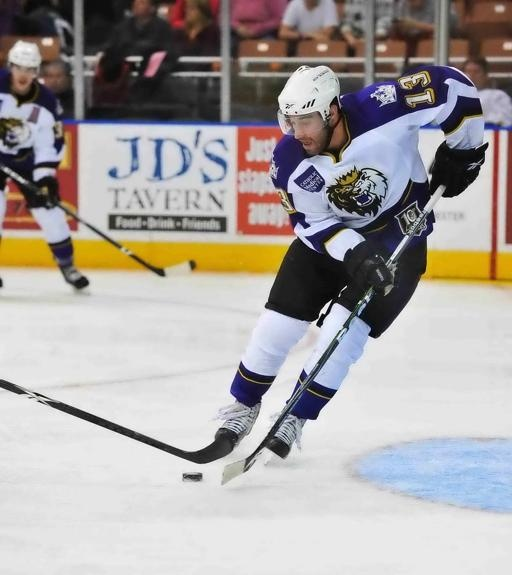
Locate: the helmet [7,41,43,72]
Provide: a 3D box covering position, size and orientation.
[{"bbox_3d":[-1.321,-1.322,4.866,0.169,0.157,0.144,-2,10,-15],"label":"helmet"}]

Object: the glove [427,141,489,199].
[{"bbox_3d":[0.571,-0.334,2.437,0.211,0.166,0.133,7,18,4],"label":"glove"}]

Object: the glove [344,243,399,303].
[{"bbox_3d":[0.291,-0.044,2.219,0.077,0.104,0.150,-37,57,-21],"label":"glove"}]

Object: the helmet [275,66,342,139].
[{"bbox_3d":[0.138,-0.495,2.191,0.145,0.143,0.125,1,10,4],"label":"helmet"}]

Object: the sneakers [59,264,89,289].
[{"bbox_3d":[-1.106,-0.054,5.268,0.083,0.098,0.248,-39,54,-8],"label":"sneakers"}]

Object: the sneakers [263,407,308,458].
[{"bbox_3d":[0.087,0.402,2.345,0.077,0.057,0.152,37,4,2],"label":"sneakers"}]

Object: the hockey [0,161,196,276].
[{"bbox_3d":[-1.031,-0.491,5.911,1.484,0.151,0.154,29,-16,-1],"label":"hockey"}]
